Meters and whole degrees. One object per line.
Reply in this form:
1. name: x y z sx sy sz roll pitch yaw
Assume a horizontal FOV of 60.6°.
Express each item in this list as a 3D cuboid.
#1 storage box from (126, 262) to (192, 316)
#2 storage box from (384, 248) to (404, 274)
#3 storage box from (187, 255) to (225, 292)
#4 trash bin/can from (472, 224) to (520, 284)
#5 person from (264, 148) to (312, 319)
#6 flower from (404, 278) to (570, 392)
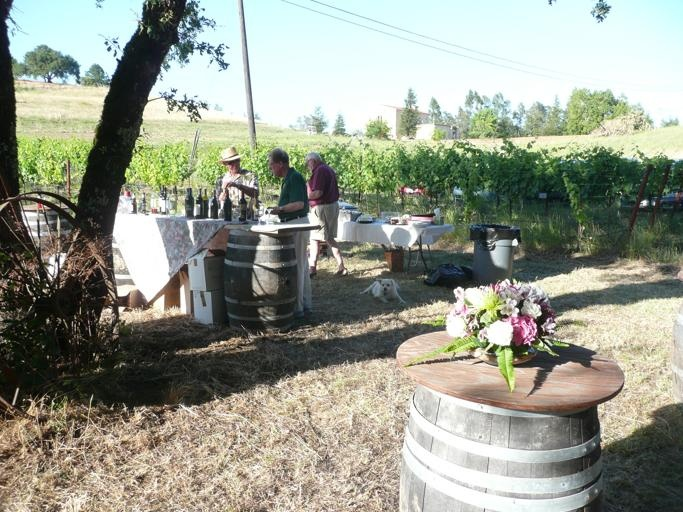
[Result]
1. storage box: -2.278 0.418 7.407 0.792 0.613 0.535 0 3 7
2. storage box: 0.912 0.082 10.141 0.325 0.398 0.379 2 7 7
3. storage box: -1.584 0.188 6.815 0.172 0.361 0.336 7 10 37
4. trash bin/can: 2.225 -0.037 8.994 0.800 0.971 0.791 0 1 -2
5. person: -0.651 -0.300 7.336 0.569 2.069 0.763 1 8 -4
6. flower: 0.874 0.523 3.683 0.856 0.534 0.936 -7 19 31
